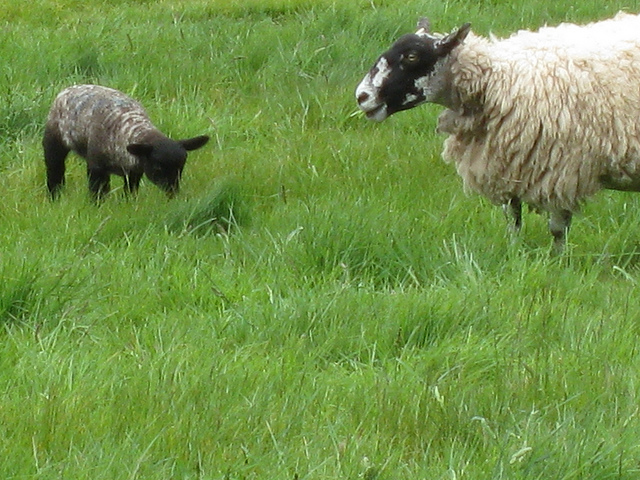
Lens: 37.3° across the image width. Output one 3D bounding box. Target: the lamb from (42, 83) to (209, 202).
[{"bbox_3d":[-1.737,-0.794,7.969,0.671,1.044,1.845,-14,26,-39],"label":"lamb"}]
